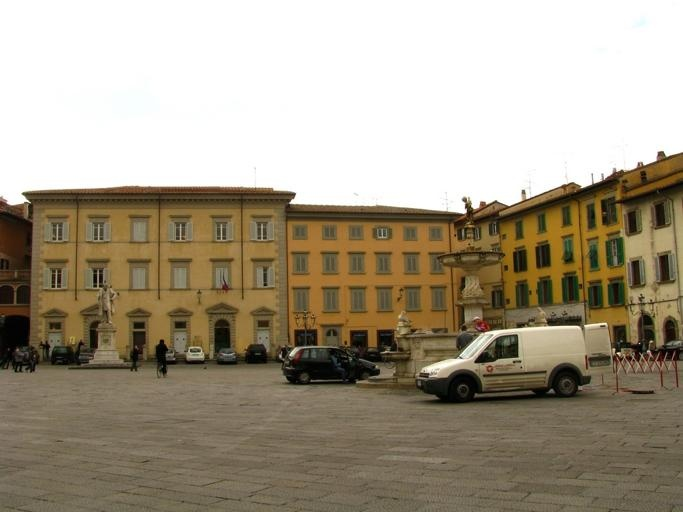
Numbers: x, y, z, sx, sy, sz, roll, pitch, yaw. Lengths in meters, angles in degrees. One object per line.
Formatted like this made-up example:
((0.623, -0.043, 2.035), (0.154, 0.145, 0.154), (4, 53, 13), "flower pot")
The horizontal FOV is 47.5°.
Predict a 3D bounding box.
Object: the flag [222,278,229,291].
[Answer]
((-9.175, 2.255, 61.389), (0.497, 0.940, 0.794), (-1, -10, 1), "flag")

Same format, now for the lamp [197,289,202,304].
((-11.133, 3.162, 61.049), (0.327, 1.154, 0.382), (1, -11, -11), "lamp")

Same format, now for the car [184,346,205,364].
((-10.395, 7.081, 55.260), (1.213, 1.221, 1.665), (0, -10, -4), "car")

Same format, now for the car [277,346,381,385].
((-0.627, 4.363, 30.845), (2.729, 0.917, 1.851), (-2, -3, -15), "car")

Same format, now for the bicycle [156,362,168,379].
((-8.096, 5.161, 34.713), (0.634, 0.712, 1.224), (0, -8, -5), "bicycle")
